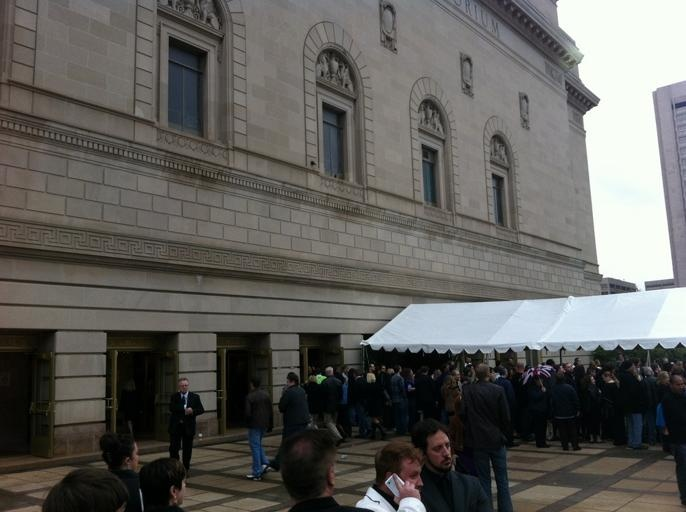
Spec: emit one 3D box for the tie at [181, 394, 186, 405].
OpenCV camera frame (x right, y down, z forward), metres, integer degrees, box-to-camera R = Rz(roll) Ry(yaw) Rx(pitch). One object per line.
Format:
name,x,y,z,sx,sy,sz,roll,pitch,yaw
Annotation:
tie,-3.857,3.480,17.010,0.046,0.178,0.117,4,-6,-3

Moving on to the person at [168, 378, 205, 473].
person,-3.876,4.139,17.222,0.747,2.252,1.109,1,-16,-14
